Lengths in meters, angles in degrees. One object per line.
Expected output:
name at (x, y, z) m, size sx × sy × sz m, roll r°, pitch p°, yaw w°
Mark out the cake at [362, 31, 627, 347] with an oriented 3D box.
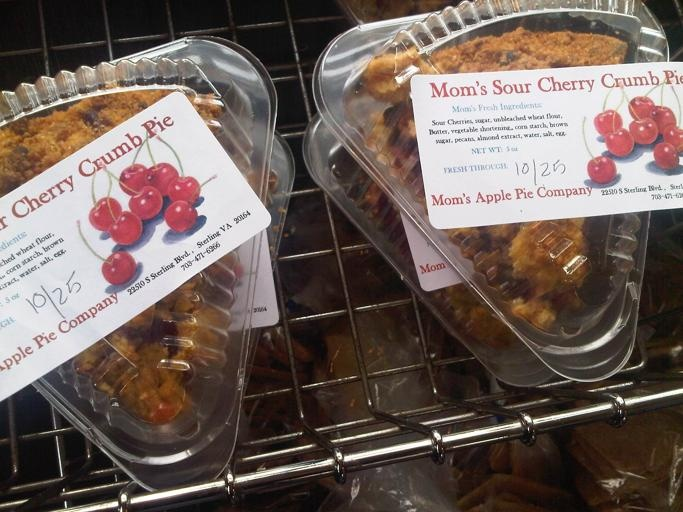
cake at (0.231, -0.082, 0.768) m, size 0.365 × 0.287 × 0.315 m, roll -9°, pitch 54°, yaw -2°
